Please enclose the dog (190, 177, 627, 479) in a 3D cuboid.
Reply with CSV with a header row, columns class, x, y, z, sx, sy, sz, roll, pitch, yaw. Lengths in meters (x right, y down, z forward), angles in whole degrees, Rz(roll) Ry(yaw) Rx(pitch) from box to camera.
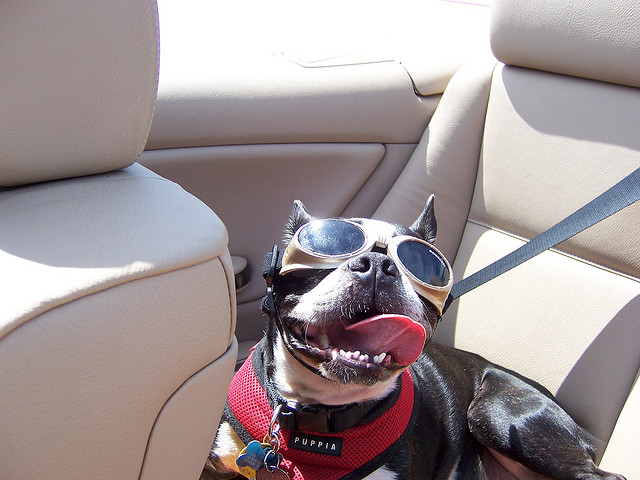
class,x,y,z,sx,sy,sz,roll,pitch,yaw
dog,0.180,0.318,1.164,0.760,0.839,0.593,1,69,9
